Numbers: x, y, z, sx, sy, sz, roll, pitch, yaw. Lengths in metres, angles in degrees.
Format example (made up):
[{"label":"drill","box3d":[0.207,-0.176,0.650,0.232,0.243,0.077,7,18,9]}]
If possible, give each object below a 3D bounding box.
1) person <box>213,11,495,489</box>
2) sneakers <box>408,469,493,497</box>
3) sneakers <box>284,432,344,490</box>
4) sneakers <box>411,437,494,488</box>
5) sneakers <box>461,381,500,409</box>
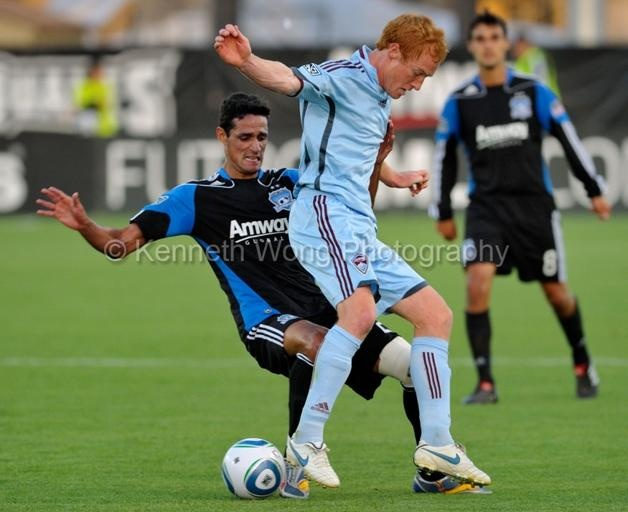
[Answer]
[{"label":"person","box3d":[0.227,-0.062,5.330,1.275,2.531,0.607,0,5,-6]},{"label":"sneakers","box3d":[0.736,1.216,5.351,0.462,0.198,0.157,1,-2,-1]},{"label":"sneakers","box3d":[-0.007,1.091,5.227,0.151,0.188,0.427,9,9,-43]},{"label":"sneakers","box3d":[0.696,1.114,5.316,0.500,0.228,0.175,18,-30,7]},{"label":"sneakers","box3d":[1.252,1.048,7.415,0.280,0.161,0.127,-2,-2,-3]}]
